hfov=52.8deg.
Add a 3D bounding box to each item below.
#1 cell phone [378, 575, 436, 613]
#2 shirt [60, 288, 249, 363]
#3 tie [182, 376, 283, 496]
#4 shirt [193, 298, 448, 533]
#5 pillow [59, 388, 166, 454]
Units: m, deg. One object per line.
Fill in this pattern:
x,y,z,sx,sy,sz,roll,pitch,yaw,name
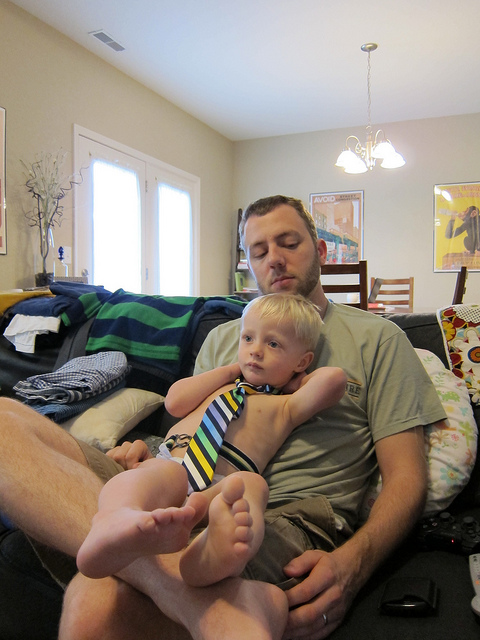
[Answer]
0.296,0.474,0.848,0.089,0.043,0.100,3,7,24,cell phone
-0.432,0.004,1.955,0.549,0.178,0.353,3,14,30,shirt
-0.033,0.207,0.952,0.034,0.083,0.337,-40,6,31,tie
0.176,0.207,1.234,0.643,0.510,0.285,-3,-9,29,shirt
-0.401,0.309,1.577,0.201,0.061,0.214,1,23,38,pillow
